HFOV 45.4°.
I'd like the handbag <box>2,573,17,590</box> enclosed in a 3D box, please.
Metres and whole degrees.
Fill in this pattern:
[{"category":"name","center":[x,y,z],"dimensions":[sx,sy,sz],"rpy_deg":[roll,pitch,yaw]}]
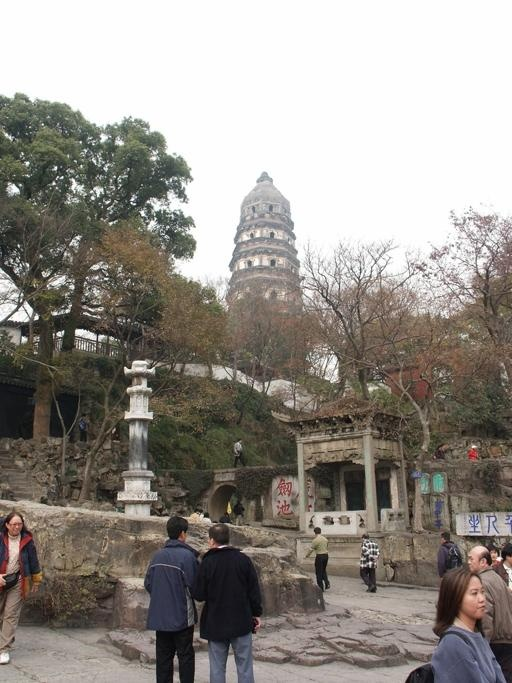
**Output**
[{"category":"handbag","center":[-2.143,2.116,5.352],"dimensions":[0.050,0.136,0.108],"rpy_deg":[25,20,40]}]

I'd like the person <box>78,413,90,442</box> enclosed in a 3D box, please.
[{"category":"person","center":[-6.770,3.415,24.154],"dimensions":[0.399,1.085,0.938],"rpy_deg":[4,-15,-14]}]
